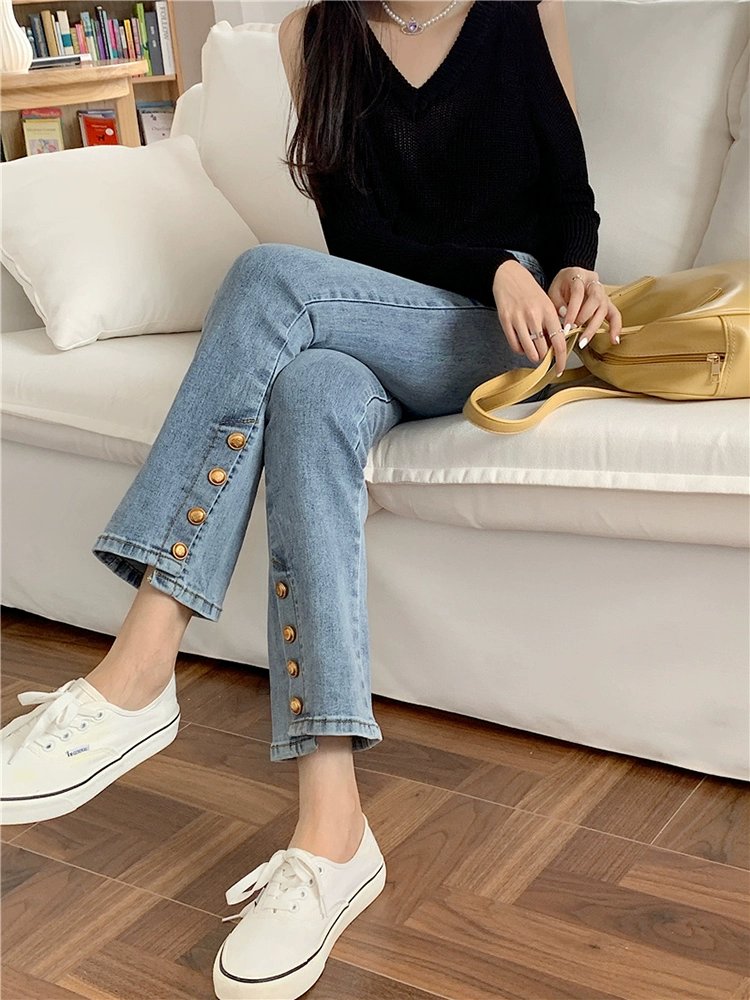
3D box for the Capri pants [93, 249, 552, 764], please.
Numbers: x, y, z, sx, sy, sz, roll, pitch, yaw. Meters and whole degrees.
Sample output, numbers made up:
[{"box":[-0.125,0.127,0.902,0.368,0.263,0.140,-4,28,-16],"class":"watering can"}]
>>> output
[{"box":[-0.071,-0.018,0.835,0.580,0.180,0.539,-3,71,-3],"class":"Capri pants"}]
